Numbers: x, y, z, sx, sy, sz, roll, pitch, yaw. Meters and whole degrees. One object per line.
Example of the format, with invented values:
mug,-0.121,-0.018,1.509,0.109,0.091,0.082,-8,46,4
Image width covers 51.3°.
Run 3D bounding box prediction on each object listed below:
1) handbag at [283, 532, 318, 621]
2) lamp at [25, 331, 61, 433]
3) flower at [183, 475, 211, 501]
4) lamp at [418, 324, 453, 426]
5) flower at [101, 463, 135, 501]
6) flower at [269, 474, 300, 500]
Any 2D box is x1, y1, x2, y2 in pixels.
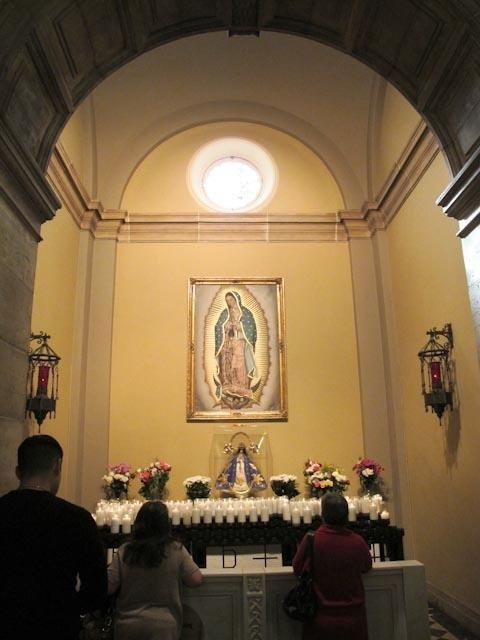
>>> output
handbag,0.294,1.299,2.522,0.184,0.408,0.105,-8,-15,21
lamp,-2.233,0.659,5.644,0.323,1.183,1.023,3,-16,-20
flower,-0.535,2.109,6.360,0.311,0.250,0.338,1,-24,-5
lamp,2.157,0.591,5.534,0.329,1.026,0.791,-4,-15,9
flower,-1.557,2.125,6.435,0.491,0.570,0.528,1,3,-12
flower,0.550,2.170,6.422,0.429,0.486,0.414,2,-20,3
